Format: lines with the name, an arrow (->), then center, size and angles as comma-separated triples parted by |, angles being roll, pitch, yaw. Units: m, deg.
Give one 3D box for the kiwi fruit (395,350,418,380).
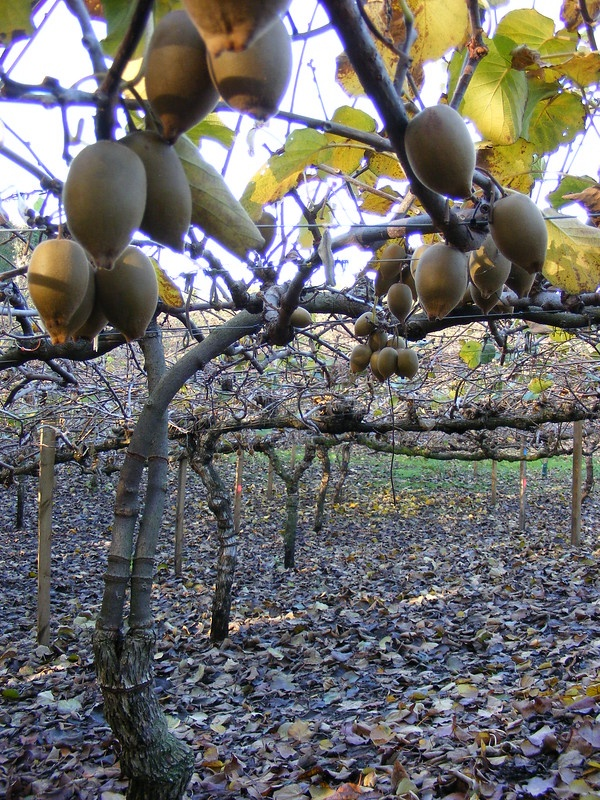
kiwi fruit -> 0.357, -0.118, 2.412 | 0.083, 0.094, 0.082 | 7, 3, 9
